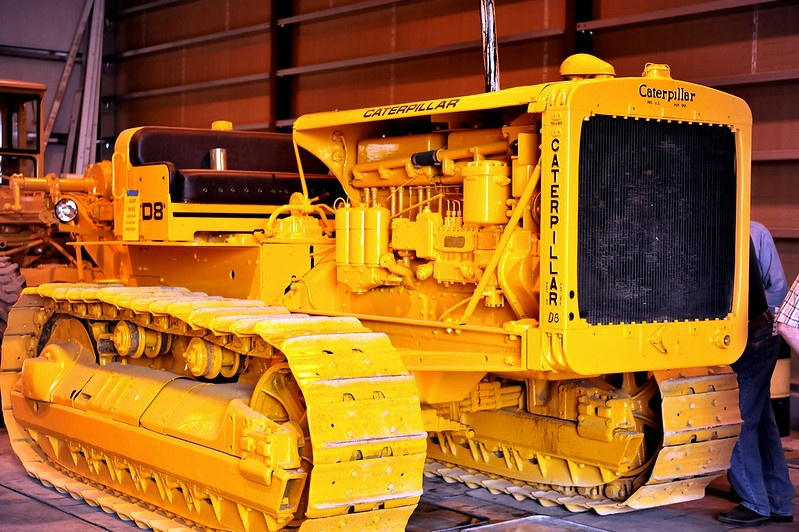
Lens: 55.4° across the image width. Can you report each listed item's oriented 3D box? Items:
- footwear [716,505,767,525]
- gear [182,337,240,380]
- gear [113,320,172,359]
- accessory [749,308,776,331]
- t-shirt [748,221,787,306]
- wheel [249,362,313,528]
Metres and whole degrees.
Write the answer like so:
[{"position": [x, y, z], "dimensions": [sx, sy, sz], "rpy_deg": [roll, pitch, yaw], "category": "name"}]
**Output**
[{"position": [2.526, 1.841, 5.637], "dimensions": [0.298, 0.120, 0.131], "rpy_deg": [2, -5, -5], "category": "footwear"}, {"position": [-1.316, 0.667, 5.409], "dimensions": [0.429, 0.319, 0.190], "rpy_deg": [2, 4, 17], "category": "gear"}, {"position": [-2.018, 0.584, 5.929], "dimensions": [0.324, 0.126, 0.355], "rpy_deg": [4, 4, 10], "category": "gear"}, {"position": [2.732, 0.410, 5.779], "dimensions": [0.130, 0.079, 0.168], "rpy_deg": [-20, -3, -11], "category": "accessory"}, {"position": [2.801, 0.010, 6.004], "dimensions": [0.202, 0.606, 0.467], "rpy_deg": [-18, -1, 10], "category": "t-shirt"}, {"position": [-0.683, 1.054, 4.729], "dimensions": [0.231, 0.830, 0.770], "rpy_deg": [6, -33, -34], "category": "wheel"}]
